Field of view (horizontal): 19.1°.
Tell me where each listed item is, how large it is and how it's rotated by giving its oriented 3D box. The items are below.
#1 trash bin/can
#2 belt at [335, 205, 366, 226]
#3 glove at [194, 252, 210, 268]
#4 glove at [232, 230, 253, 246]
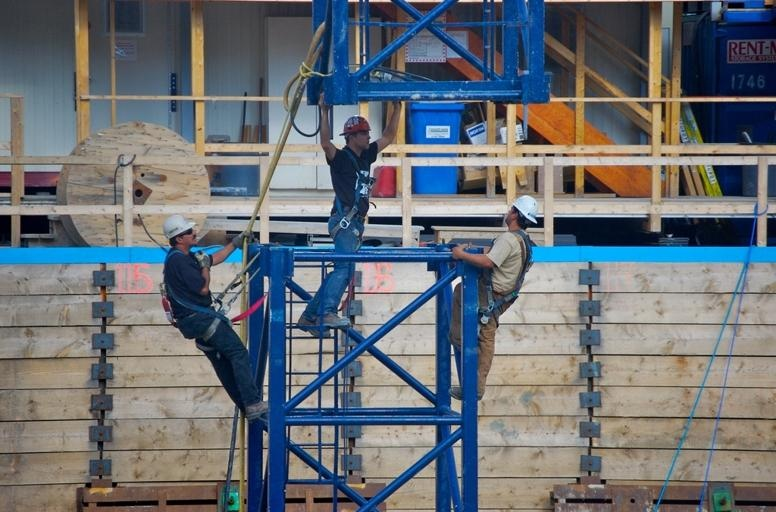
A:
[{"bbox_3d":[0.943,-2.162,46.415,1.676,2.295,1.626,0,4,-1],"label":"trash bin/can"},{"bbox_3d":[-0.659,-0.683,40.589,0.412,0.283,0.120,-20,-27,16],"label":"belt"},{"bbox_3d":[-3.297,0.050,40.452,0.215,0.270,0.107,-13,-22,-23],"label":"glove"},{"bbox_3d":[-2.591,-0.299,40.300,0.349,0.265,0.448,0,-1,-5],"label":"glove"}]
